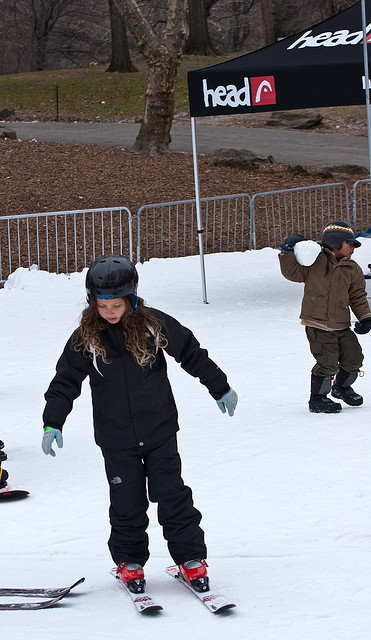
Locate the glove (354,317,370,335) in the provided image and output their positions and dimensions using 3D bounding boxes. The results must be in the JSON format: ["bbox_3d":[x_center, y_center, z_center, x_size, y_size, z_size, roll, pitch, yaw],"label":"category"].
[{"bbox_3d":[1.201,0.040,4.731,0.113,0.118,0.100,-1,8,19],"label":"glove"}]

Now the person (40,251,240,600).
[{"bbox_3d":[-0.158,0.384,2.527,0.693,1.238,0.369,-3,7,0],"label":"person"}]

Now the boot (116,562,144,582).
[{"bbox_3d":[-0.195,0.911,2.517,0.047,0.058,0.134,2,-2,-13],"label":"boot"}]

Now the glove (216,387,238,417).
[{"bbox_3d":[0.166,0.318,2.713,0.042,0.095,0.101,-6,10,-8],"label":"glove"}]

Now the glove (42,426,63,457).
[{"bbox_3d":[-0.481,0.440,2.536,0.065,0.137,0.178,-5,7,-8],"label":"glove"}]

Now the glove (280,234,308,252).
[{"bbox_3d":[0.728,-0.526,4.714,0.149,0.052,0.104,-33,19,-38],"label":"glove"}]

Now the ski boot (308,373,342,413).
[{"bbox_3d":[0.993,0.524,4.922,0.271,0.285,0.143,5,3,44],"label":"ski boot"}]

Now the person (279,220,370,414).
[{"bbox_3d":[0.982,-0.006,4.889,0.595,1.338,0.383,-3,7,7],"label":"person"}]

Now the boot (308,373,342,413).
[{"bbox_3d":[0.961,0.532,4.898,0.317,0.304,0.162,1,7,9],"label":"boot"}]
